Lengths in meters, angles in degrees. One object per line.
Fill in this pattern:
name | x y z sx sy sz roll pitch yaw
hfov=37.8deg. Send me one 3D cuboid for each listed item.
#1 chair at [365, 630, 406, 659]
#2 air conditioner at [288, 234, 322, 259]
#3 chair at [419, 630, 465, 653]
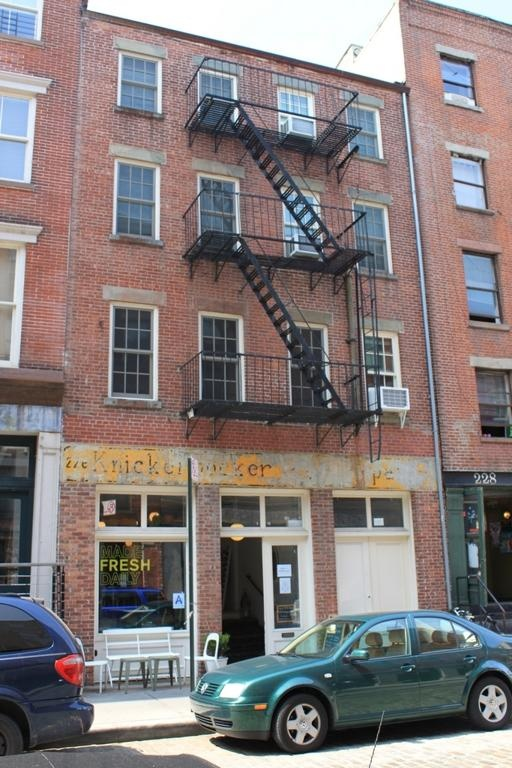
chair | 1.375 2.767 7.933 0.397 0.399 0.226 18 -27 -32
air conditioner | 0.973 -2.768 15.087 0.666 0.342 0.441 15 21 -24
chair | 1.973 2.826 8.186 0.352 0.140 0.251 0 -7 -3
